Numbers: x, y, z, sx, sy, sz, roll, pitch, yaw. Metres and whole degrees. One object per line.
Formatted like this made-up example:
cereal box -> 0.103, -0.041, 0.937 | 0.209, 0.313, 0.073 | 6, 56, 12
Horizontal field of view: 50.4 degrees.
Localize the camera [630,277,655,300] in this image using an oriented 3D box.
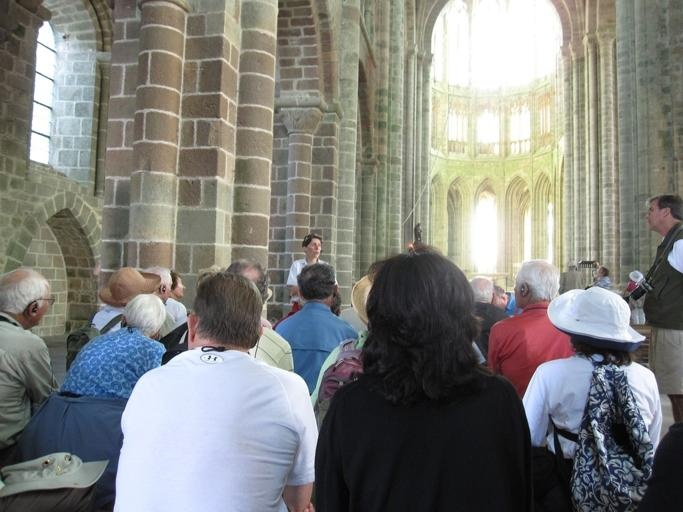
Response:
camera -> 2.595, 0.293, 6.262 | 0.191, 0.147, 0.078 | -41, -13, 7
